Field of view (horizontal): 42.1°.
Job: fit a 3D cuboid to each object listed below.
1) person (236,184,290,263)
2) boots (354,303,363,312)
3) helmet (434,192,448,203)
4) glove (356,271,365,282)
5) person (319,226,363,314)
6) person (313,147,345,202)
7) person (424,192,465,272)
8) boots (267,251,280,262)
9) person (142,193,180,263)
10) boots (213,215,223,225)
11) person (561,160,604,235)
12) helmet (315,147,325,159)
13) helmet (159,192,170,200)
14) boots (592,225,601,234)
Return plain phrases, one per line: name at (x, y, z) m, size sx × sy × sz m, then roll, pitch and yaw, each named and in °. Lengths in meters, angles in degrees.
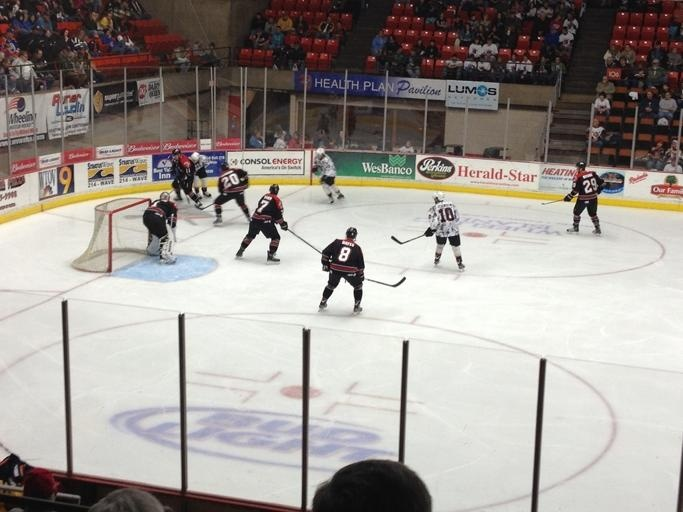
person at (-1.427, -0.598, 15.971) m, size 0.816 × 1.401 × 0.687 m, roll 0°, pitch 13°, yaw -8°
boots at (0.254, 0.791, 13.698) m, size 0.072 × 0.145 × 0.165 m, roll 13°, pitch 27°, yaw 26°
helmet at (1.737, -1.068, 15.870) m, size 0.229 × 0.236 × 0.252 m, roll 7°, pitch 26°, yaw 10°
glove at (0.290, 0.295, 13.472) m, size 0.071 × 0.190 × 0.216 m, roll 7°, pitch 13°, yaw 24°
person at (0.003, 0.221, 13.598) m, size 0.666 × 1.297 × 0.585 m, roll 1°, pitch 13°, yaw -2°
person at (-0.332, -2.023, 21.649) m, size 0.783 × 1.275 × 1.805 m, roll 1°, pitch 11°, yaw 0°
person at (1.866, -0.446, 15.881) m, size 0.726 × 1.378 × 0.412 m, roll 2°, pitch 13°, yaw 4°
boots at (-1.256, 0.008, 16.085) m, size 0.284 × 0.241 × 0.128 m, roll -5°, pitch 29°, yaw -11°
person at (-3.195, -0.490, 15.684) m, size 0.531 × 1.266 × 0.293 m, roll -6°, pitch 15°, yaw -28°
boots at (-2.614, -0.785, 18.635) m, size 0.117 × 0.208 × 0.226 m, roll -20°, pitch 45°, yaw -38°
person at (5.221, -1.288, 19.024) m, size 0.780 × 1.505 × 1.381 m, roll 5°, pitch 12°, yaw 15°
helmet at (-0.504, -2.418, 20.828) m, size 0.293 × 0.173 × 0.350 m, roll -3°, pitch 14°, yaw -5°
helmet at (-3.095, -1.057, 15.688) m, size 0.218 × 0.191 × 0.205 m, roll 0°, pitch 10°, yaw -17°
boots at (5.354, -0.552, 18.592) m, size 0.113 × 0.196 × 0.218 m, roll -15°, pitch 23°, yaw -28°
